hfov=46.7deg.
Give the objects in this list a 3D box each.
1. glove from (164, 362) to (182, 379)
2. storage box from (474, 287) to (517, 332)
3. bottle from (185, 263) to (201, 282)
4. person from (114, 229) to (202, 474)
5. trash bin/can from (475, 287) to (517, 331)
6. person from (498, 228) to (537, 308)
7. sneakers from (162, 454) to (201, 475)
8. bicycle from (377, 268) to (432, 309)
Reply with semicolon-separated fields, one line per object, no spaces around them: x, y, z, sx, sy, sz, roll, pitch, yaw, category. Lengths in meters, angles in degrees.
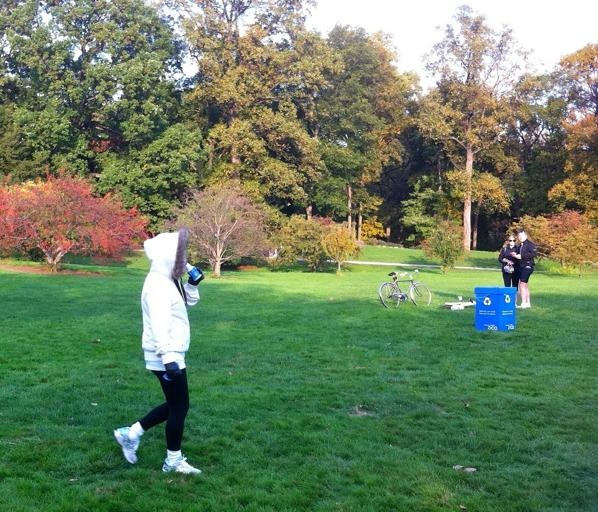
-1.521;1.373;8.372;0.182;0.242;0.261;-1;8;-9;glove
4.706;1.280;16.257;1.008;1.097;1.059;3;-4;29;storage box
-1.330;0.221;8.769;0.165;0.236;0.104;15;-10;15;bottle
-1.654;1.187;8.739;0.966;3.041;0.745;5;9;32;person
4.583;1.238;16.215;0.956;0.978;0.976;0;-1;12;trash bin/can
5.679;0.353;17.916;0.748;2.103;1.027;-2;8;-15;person
-1.497;2.642;8.806;0.555;0.255;0.202;3;0;2;sneakers
3.078;0.954;20.594;1.885;1.153;0.864;-3;5;-20;bicycle
